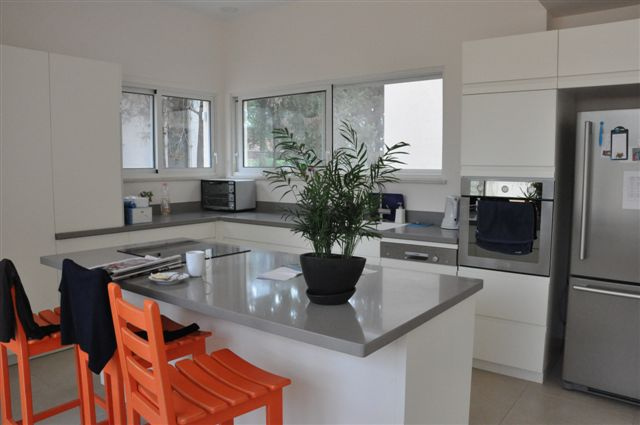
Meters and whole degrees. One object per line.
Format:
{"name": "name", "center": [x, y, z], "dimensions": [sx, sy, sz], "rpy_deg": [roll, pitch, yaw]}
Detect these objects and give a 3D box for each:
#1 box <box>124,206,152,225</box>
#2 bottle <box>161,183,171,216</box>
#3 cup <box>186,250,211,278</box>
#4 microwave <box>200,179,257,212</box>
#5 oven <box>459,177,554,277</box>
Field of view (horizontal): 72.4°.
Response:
{"name": "box", "center": [-1.956, 0.027, 4.715], "dimensions": [0.274, 0.173, 0.213], "rpy_deg": [-3, 12, -24]}
{"name": "bottle", "center": [-1.860, -0.153, 5.261], "dimensions": [0.101, 0.377, 0.212], "rpy_deg": [-1, 12, -13]}
{"name": "cup", "center": [-0.799, 0.339, 2.889], "dimensions": [0.119, 0.163, 0.189], "rpy_deg": [-4, -6, 37]}
{"name": "microwave", "center": [-1.165, -0.215, 5.584], "dimensions": [0.673, 0.437, 0.409], "rpy_deg": [2, 3, 32]}
{"name": "oven", "center": [1.563, 0.134, 4.095], "dimensions": [0.926, 1.091, 0.740], "rpy_deg": [2, 1, 35]}
